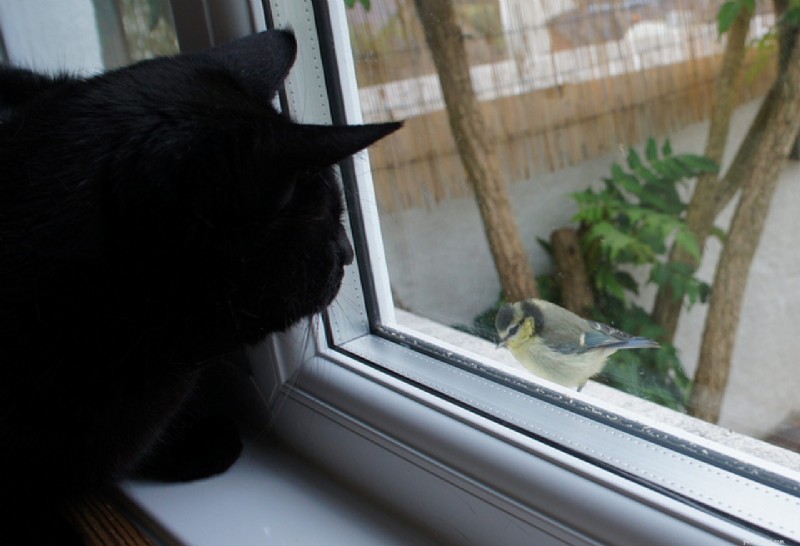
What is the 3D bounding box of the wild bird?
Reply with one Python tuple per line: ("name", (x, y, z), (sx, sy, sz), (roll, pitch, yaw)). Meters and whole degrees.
("wild bird", (0.248, 0.110, 0.781), (0.208, 0.146, 0.096), (-4, 5, 12))
